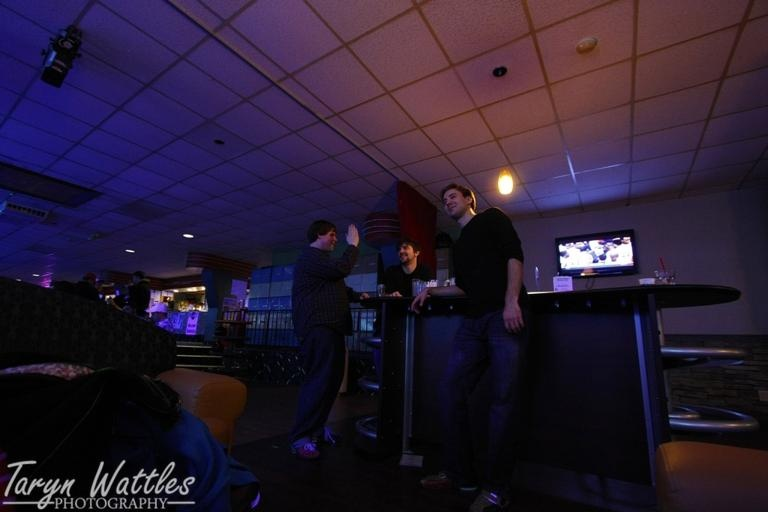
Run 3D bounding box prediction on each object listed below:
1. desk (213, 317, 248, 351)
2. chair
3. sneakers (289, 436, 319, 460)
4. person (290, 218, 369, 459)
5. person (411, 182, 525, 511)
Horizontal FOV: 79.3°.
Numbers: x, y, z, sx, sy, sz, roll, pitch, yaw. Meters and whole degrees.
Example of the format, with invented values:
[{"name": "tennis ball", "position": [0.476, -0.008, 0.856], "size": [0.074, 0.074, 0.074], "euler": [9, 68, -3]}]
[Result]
[{"name": "desk", "position": [-3.429, 1.757, 10.397], "size": [0.640, 0.737, 1.491], "euler": [6, -15, -18]}, {"name": "chair", "position": [-1.483, 1.319, 3.581], "size": [0.657, 0.771, 0.630], "euler": [0, -13, -5]}, {"name": "sneakers", "position": [-0.706, 1.692, 4.075], "size": [0.261, 0.109, 0.132], "euler": [-8, -18, 36]}, {"name": "person", "position": [-0.575, 0.718, 4.247], "size": [0.573, 2.103, 0.317], "euler": [5, -15, -11]}, {"name": "person", "position": [0.728, 0.637, 3.709], "size": [0.790, 2.515, 0.527], "euler": [-2, -15, 15]}]
